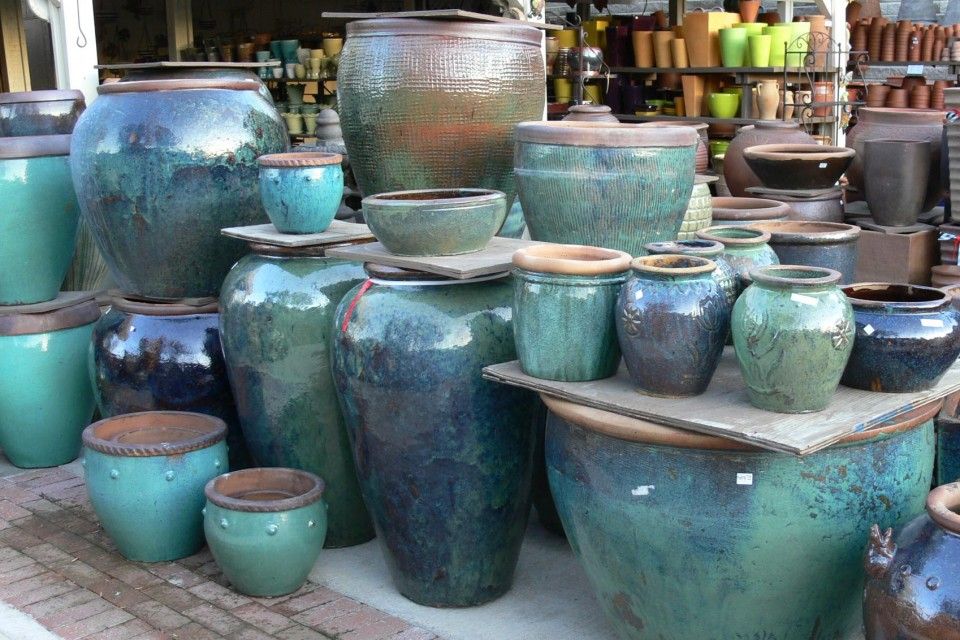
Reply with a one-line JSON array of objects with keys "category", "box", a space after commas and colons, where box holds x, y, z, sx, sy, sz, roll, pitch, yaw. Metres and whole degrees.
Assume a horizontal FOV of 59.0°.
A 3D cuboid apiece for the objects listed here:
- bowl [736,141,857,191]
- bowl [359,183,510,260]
[{"category": "bowl", "box": [1.596, -0.756, 4.226, 0.559, 0.209, 0.561, -1, 15, 0]}, {"category": "bowl", "box": [-0.156, -0.359, 3.124, 0.509, 0.206, 0.503, 0, 10, 0]}]
